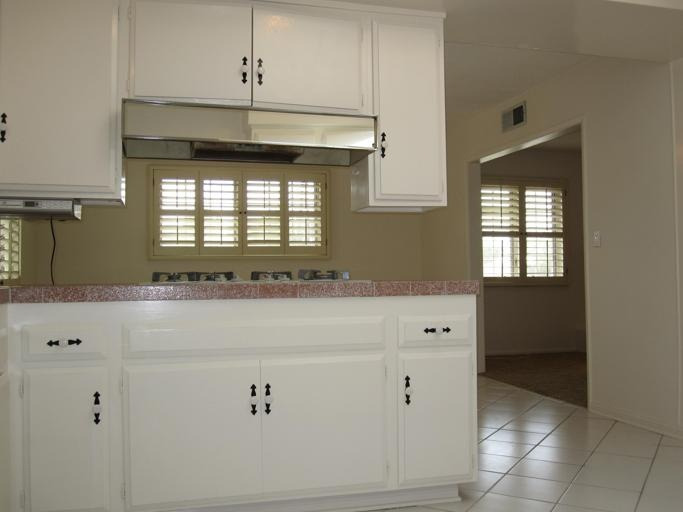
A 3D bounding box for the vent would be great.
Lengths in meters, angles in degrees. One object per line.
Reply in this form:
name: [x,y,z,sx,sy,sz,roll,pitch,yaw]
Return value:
vent: [-0.541,-0.710,3.559,1.475,0.401,0.396,3,14,-12]
